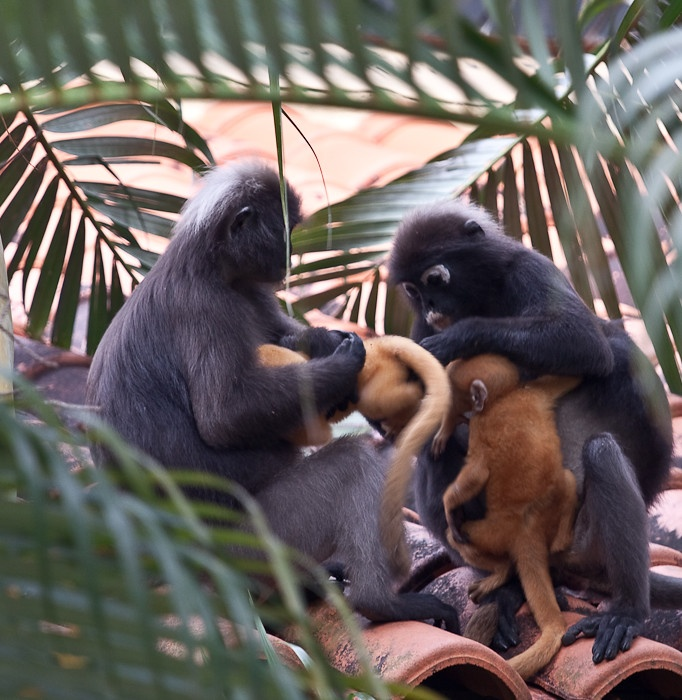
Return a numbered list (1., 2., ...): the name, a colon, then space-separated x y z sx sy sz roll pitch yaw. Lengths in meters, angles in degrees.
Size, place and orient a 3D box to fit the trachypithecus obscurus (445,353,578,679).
1. trachypithecus obscurus: 0.338 0.332 1.917 0.305 0.641 0.262 6 -14 5
